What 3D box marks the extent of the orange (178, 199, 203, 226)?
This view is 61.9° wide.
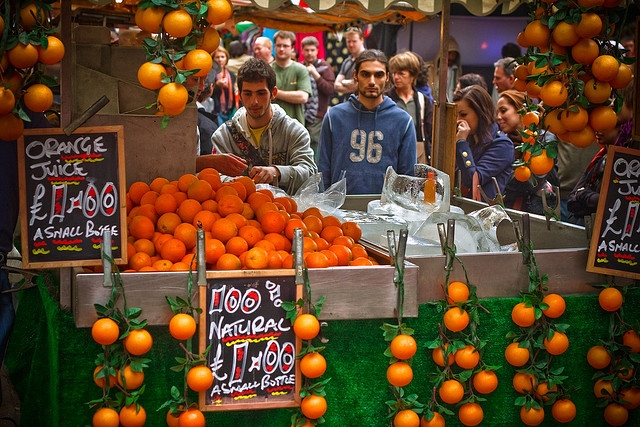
[{"bbox_3d":[-0.647,-0.011,2.644,0.099,0.125,0.098,1,-16,-28],"label":"orange"}]

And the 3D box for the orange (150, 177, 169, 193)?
[{"bbox_3d":[-0.856,-0.153,2.872,0.078,0.083,0.097,-6,-31,13],"label":"orange"}]

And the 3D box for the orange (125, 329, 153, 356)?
[{"bbox_3d":[-0.763,0.540,2.250,0.109,0.112,0.109,3,4,-3],"label":"orange"}]

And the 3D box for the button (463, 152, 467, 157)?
[{"bbox_3d":[1.364,-0.555,5.036,0.034,0.042,0.010,1,2,7],"label":"button"}]

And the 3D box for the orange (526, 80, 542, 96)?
[{"bbox_3d":[1.039,-0.609,2.631,0.061,0.064,0.073,19,9,-7],"label":"orange"}]

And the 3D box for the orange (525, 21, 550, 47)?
[{"bbox_3d":[1.008,-0.831,2.489,0.099,0.123,0.102,-24,27,-23],"label":"orange"}]

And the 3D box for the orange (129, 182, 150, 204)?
[{"bbox_3d":[-0.937,-0.110,2.838,0.097,0.120,0.100,8,3,2],"label":"orange"}]

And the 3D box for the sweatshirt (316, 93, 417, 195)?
[{"bbox_3d":[0.430,-0.610,4.948,0.902,1.147,0.440,7,36,7],"label":"sweatshirt"}]

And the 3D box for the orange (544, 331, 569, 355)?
[{"bbox_3d":[1.089,0.602,2.460,0.094,0.098,0.091,-8,10,-41],"label":"orange"}]

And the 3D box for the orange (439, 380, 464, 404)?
[{"bbox_3d":[0.604,0.803,2.455,0.094,0.099,0.096,3,-3,21],"label":"orange"}]

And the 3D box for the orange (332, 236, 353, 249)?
[{"bbox_3d":[0.115,0.142,2.700,0.060,0.063,0.071,15,14,-26],"label":"orange"}]

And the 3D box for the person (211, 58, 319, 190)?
[{"bbox_3d":[-0.532,-0.558,4.694,0.969,1.507,0.815,0,7,9],"label":"person"}]

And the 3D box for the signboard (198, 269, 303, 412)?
[{"bbox_3d":[-0.314,0.529,2.296,0.581,0.807,0.038,-1,2,-9],"label":"signboard"}]

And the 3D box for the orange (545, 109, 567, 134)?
[{"bbox_3d":[1.097,-0.425,2.512,0.095,0.118,0.098,-3,-1,9],"label":"orange"}]

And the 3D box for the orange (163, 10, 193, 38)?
[{"bbox_3d":[-0.572,-0.764,2.146,0.097,0.140,0.099,-4,17,-24],"label":"orange"}]

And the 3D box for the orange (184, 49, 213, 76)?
[{"bbox_3d":[-0.514,-0.635,2.228,0.121,0.130,0.131,2,5,2],"label":"orange"}]

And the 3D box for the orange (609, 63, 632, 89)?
[{"bbox_3d":[1.365,-0.633,2.443,0.081,0.097,0.081,11,39,-9],"label":"orange"}]

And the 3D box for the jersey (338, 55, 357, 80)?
[{"bbox_3d":[0.362,-2.075,7.652,0.179,0.371,0.410,0,2,-7],"label":"jersey"}]

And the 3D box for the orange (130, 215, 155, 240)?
[{"bbox_3d":[-0.849,0.067,2.552,0.111,0.112,0.059,0,2,-18],"label":"orange"}]

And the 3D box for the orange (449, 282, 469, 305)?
[{"bbox_3d":[0.628,0.360,2.446,0.084,0.103,0.088,0,-40,13],"label":"orange"}]

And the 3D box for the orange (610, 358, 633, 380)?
[{"bbox_3d":[1.445,0.758,2.587,0.083,0.086,0.086,10,1,1],"label":"orange"}]

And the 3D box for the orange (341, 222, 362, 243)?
[{"bbox_3d":[0.172,0.091,2.922,0.101,0.105,0.103,-22,-29,15],"label":"orange"}]

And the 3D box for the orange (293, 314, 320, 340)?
[{"bbox_3d":[-0.060,0.491,2.316,0.112,0.121,0.118,7,4,-28],"label":"orange"}]

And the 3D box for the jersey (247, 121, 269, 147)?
[{"bbox_3d":[-0.563,-0.707,4.741,0.126,0.174,0.133,-2,-4,-7],"label":"jersey"}]

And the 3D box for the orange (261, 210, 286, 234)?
[{"bbox_3d":[-0.229,0.046,2.681,0.099,0.106,0.102,3,-33,7],"label":"orange"}]

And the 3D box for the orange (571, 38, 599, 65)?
[{"bbox_3d":[1.225,-0.748,2.479,0.108,0.134,0.111,5,5,29],"label":"orange"}]

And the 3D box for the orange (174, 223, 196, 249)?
[{"bbox_3d":[-0.630,0.101,2.493,0.104,0.126,0.104,-3,4,-17],"label":"orange"}]

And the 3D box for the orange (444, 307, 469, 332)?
[{"bbox_3d":[0.618,0.474,2.457,0.103,0.103,0.096,-6,19,-43],"label":"orange"}]

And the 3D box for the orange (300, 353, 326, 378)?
[{"bbox_3d":[-0.032,0.659,2.307,0.109,0.110,0.047,0,2,-4],"label":"orange"}]

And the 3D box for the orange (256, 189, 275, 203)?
[{"bbox_3d":[-0.313,-0.112,3.054,0.085,0.104,0.086,-9,20,-20],"label":"orange"}]

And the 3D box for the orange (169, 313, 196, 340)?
[{"bbox_3d":[-0.566,0.465,2.201,0.097,0.096,0.101,-1,-25,10],"label":"orange"}]

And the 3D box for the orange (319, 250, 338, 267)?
[{"bbox_3d":[0.038,0.207,2.480,0.065,0.069,0.078,-1,2,1],"label":"orange"}]

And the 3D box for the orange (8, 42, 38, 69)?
[{"bbox_3d":[-1.168,-0.619,2.097,0.106,0.093,0.074,1,2,18],"label":"orange"}]

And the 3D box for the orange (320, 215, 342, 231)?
[{"bbox_3d":[0.064,0.049,2.892,0.070,0.086,0.072,0,-4,-4],"label":"orange"}]

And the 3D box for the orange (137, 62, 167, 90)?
[{"bbox_3d":[-0.698,-0.564,2.194,0.102,0.126,0.100,1,-3,-27],"label":"orange"}]

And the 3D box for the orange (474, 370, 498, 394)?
[{"bbox_3d":[0.754,0.771,2.488,0.092,0.116,0.092,-3,10,-8],"label":"orange"}]

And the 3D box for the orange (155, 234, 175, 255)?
[{"bbox_3d":[-0.730,0.139,2.520,0.080,0.085,0.082,9,7,3],"label":"orange"}]

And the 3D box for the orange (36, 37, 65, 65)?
[{"bbox_3d":[-1.083,-0.657,2.155,0.099,0.125,0.104,6,5,23],"label":"orange"}]

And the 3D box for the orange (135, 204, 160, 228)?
[{"bbox_3d":[-0.833,0.005,2.614,0.106,0.110,0.103,5,3,7],"label":"orange"}]

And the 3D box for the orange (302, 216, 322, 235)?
[{"bbox_3d":[-0.037,0.055,2.827,0.083,0.101,0.085,-11,13,40],"label":"orange"}]

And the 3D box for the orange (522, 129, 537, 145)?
[{"bbox_3d":[1.056,-0.385,2.686,0.073,0.090,0.076,-2,7,-4],"label":"orange"}]

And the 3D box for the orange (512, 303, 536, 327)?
[{"bbox_3d":[0.929,0.469,2.451,0.096,0.119,0.099,11,-7,11],"label":"orange"}]

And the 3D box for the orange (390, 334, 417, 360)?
[{"bbox_3d":[0.369,0.592,2.375,0.114,0.121,0.123,0,6,26],"label":"orange"}]

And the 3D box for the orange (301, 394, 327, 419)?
[{"bbox_3d":[-0.029,0.831,2.303,0.088,0.094,0.092,1,18,-2],"label":"orange"}]
